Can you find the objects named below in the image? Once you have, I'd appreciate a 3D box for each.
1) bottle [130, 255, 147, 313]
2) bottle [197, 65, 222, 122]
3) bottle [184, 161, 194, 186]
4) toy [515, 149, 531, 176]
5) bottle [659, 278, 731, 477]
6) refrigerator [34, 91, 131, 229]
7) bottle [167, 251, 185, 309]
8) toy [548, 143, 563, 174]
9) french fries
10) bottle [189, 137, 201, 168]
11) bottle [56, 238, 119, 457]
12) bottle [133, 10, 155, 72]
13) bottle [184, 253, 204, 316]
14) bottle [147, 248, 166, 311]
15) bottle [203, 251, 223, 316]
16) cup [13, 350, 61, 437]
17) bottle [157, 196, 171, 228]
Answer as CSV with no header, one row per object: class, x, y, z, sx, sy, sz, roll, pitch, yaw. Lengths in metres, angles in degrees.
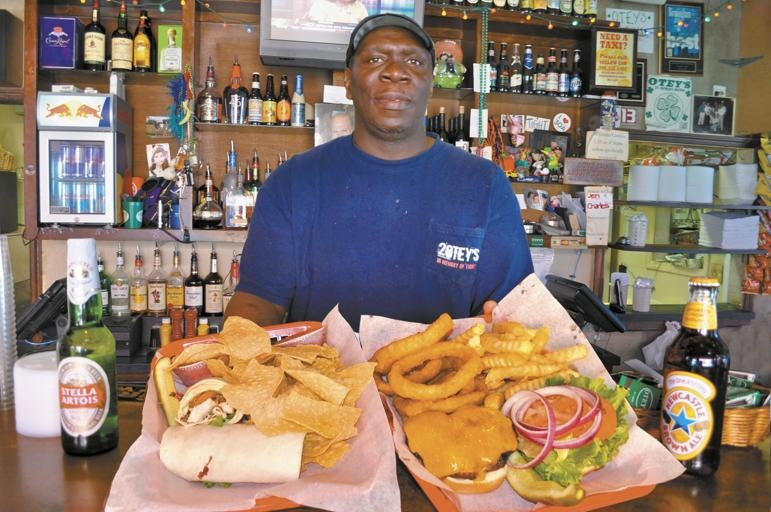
bottle,-1.511,0.168,3.932,0.093,0.353,0.199,0,4,-22
bottle,-1.070,-0.990,3.923,0.154,0.367,0.159,2,4,0
bottle,-1.170,-0.489,3.821,0.048,0.149,0.117,0,4,-17
toy,0.952,-0.639,4.399,0.111,0.189,0.062,3,-33,6
bottle,0.926,0.337,1.938,0.194,0.583,0.182,2,2,0
refrigerator,-1.757,-0.566,3.699,0.460,0.790,0.317,2,7,-10
bottle,-1.290,0.144,3.950,0.105,0.343,0.365,0,4,-18
toy,1.182,-0.668,4.459,0.127,0.197,0.090,-6,-3,-14
french fries,0.362,0.287,1.920,0.363,0.230,0.244,-2,8,-30
bottle,-1.168,-0.634,3.956,0.050,0.179,0.260,1,4,-14
bottle,-0.844,0.256,1.925,0.238,0.617,0.172,1,2,-6
bottle,-1.457,-1.309,3.912,0.109,0.399,0.205,2,4,2
bottle,-1.184,0.162,3.972,0.110,0.382,0.309,0,4,-17
bottle,-1.389,0.153,3.912,0.109,0.385,0.207,0,4,-18
bottle,-1.046,0.170,3.922,0.118,0.388,0.165,1,4,-16
cup,-1.059,0.425,1.950,0.119,0.246,0.219,-1,5,-29
bottle,-1.294,-0.253,3.770,0.053,0.189,0.080,5,6,41
